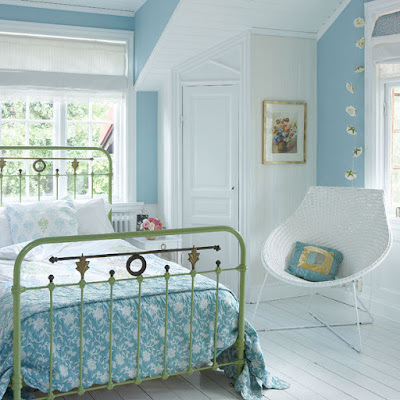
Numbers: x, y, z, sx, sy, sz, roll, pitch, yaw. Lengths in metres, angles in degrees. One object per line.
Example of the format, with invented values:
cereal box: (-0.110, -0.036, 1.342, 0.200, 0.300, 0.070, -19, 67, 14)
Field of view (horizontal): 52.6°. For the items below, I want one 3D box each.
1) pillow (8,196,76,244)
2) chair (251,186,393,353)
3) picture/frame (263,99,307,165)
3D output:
pillow: (-1.108, 0.150, 2.843, 0.363, 0.266, 0.125, -4, -22, -27)
chair: (0.883, 0.434, 2.973, 0.986, 0.983, 0.831, 3, 8, 28)
picture/frame: (0.735, -0.612, 3.567, 0.630, 0.657, 0.035, -5, 10, -24)
